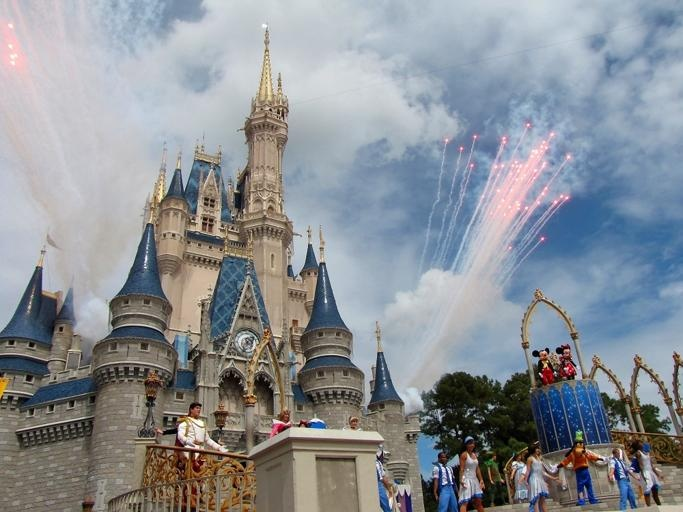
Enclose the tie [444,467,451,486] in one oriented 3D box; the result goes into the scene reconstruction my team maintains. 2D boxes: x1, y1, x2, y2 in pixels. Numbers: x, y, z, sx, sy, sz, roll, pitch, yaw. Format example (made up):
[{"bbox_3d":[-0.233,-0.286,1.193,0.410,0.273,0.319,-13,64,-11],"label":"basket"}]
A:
[{"bbox_3d":[2.780,5.680,14.688,0.245,0.376,0.119,2,-10,-24],"label":"tie"}]
